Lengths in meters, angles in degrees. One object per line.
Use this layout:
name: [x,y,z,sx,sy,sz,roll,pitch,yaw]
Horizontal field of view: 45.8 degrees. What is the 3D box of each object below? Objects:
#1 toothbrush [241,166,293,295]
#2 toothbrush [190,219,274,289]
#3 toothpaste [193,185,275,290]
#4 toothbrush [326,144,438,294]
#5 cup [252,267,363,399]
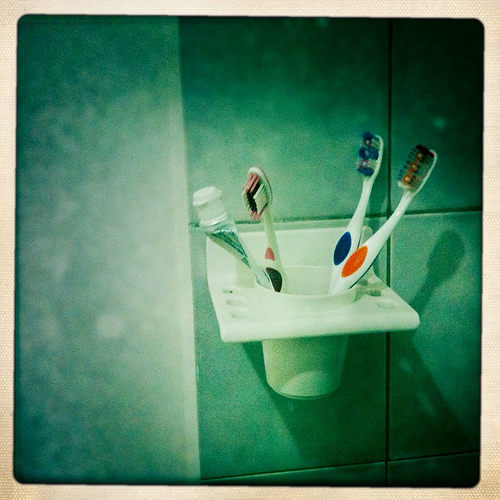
toothbrush: [0.033,-0.018,0.668,0.039,0.157,0.033,4,39,33]
toothbrush: [-0.022,-0.005,0.663,0.071,0.091,0.113,-10,17,-12]
toothpaste: [-0.025,0.003,0.639,0.036,0.163,0.034,-31,36,-16]
toothbrush: [0.150,-0.045,0.689,0.029,0.201,0.023,40,7,38]
cup: [0.071,0.106,0.683,0.124,0.167,0.084,-4,17,8]
